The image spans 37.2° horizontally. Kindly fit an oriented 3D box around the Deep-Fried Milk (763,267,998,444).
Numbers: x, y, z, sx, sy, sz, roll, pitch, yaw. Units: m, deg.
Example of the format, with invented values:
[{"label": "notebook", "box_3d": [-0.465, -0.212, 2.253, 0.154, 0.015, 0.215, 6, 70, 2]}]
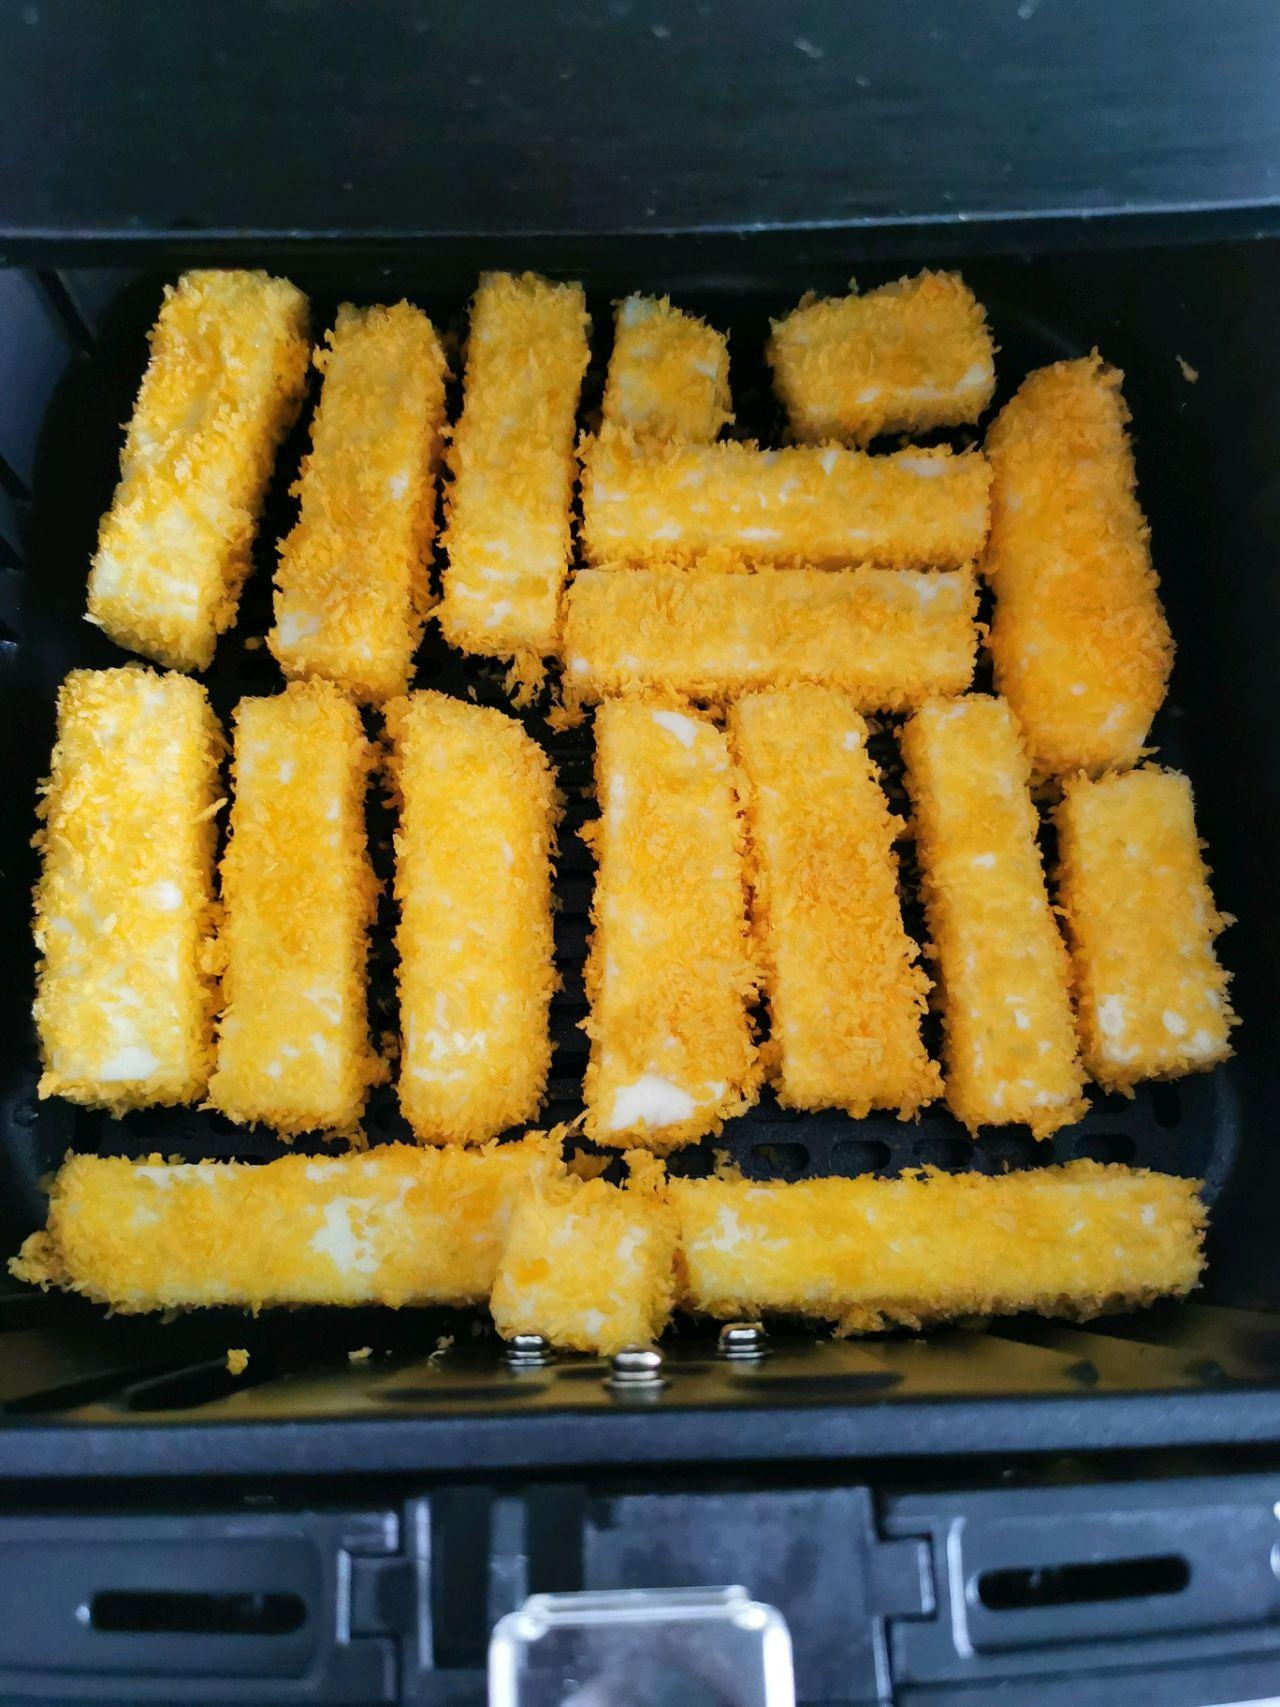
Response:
[{"label": "Deep-Fried Milk", "box_3d": [0.202, -0.415, 1.610, 0.177, 0.101, 0.112, -12, 80, -2]}]
